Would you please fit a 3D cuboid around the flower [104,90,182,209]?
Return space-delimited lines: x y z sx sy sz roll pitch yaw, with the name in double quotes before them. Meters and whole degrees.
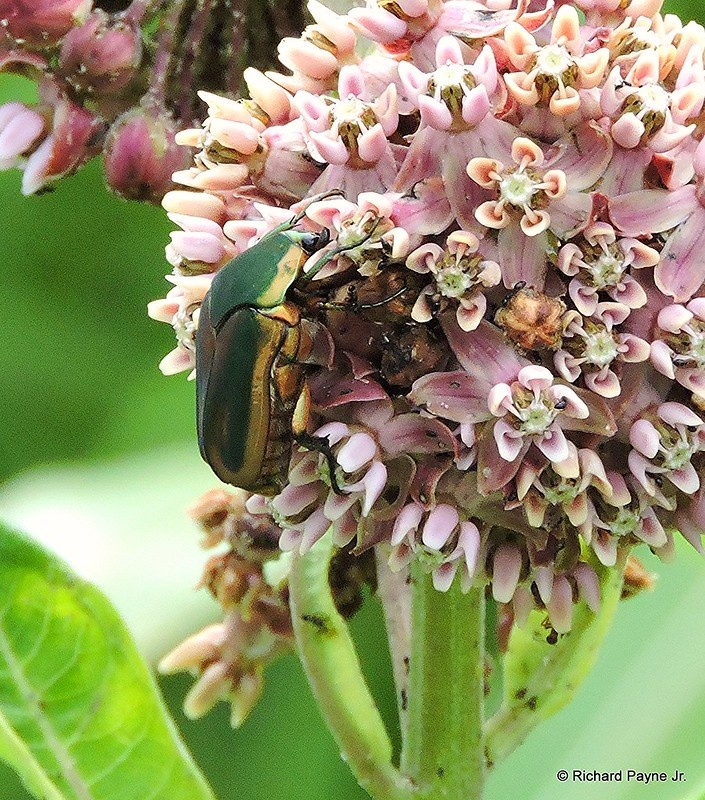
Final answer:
"flower" -0.280 -0.338 1.587 0.118 0.125 0.041 7 19 -21
